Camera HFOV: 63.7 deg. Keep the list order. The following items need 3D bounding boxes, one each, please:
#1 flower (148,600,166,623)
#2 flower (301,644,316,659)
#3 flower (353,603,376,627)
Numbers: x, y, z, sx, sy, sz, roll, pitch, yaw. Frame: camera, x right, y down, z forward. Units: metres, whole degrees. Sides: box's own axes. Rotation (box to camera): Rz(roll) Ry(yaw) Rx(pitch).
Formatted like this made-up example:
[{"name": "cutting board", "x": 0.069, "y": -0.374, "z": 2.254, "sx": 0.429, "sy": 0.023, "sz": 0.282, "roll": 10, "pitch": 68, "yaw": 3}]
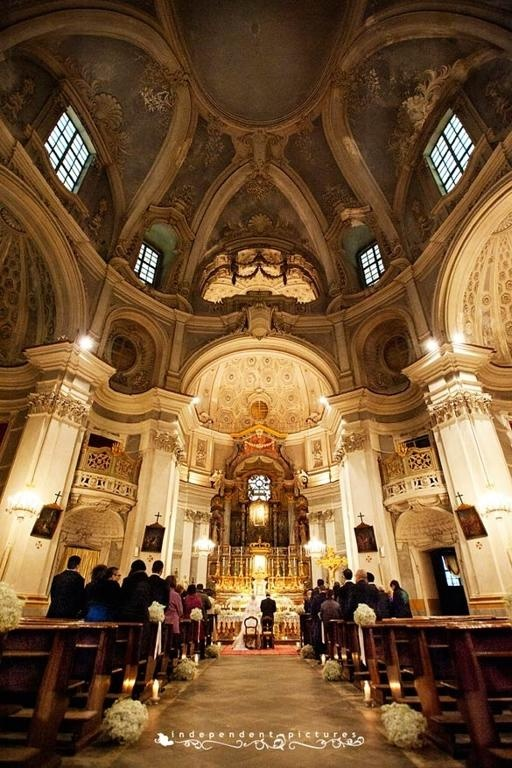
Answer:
[{"name": "flower", "x": -1.120, "y": 2.584, "z": 4.673, "sx": 0.103, "sy": 0.232, "sz": 0.215, "roll": -9, "pitch": -22, "yaw": 20}, {"name": "flower", "x": 1.182, "y": 6.031, "z": 9.271, "sx": 0.334, "sy": 0.370, "sz": 0.361, "roll": -1, "pitch": -20, "yaw": -2}, {"name": "flower", "x": 1.254, "y": 2.735, "z": 4.781, "sx": 0.235, "sy": 0.254, "sz": 0.290, "roll": -1, "pitch": 1, "yaw": 0}]
